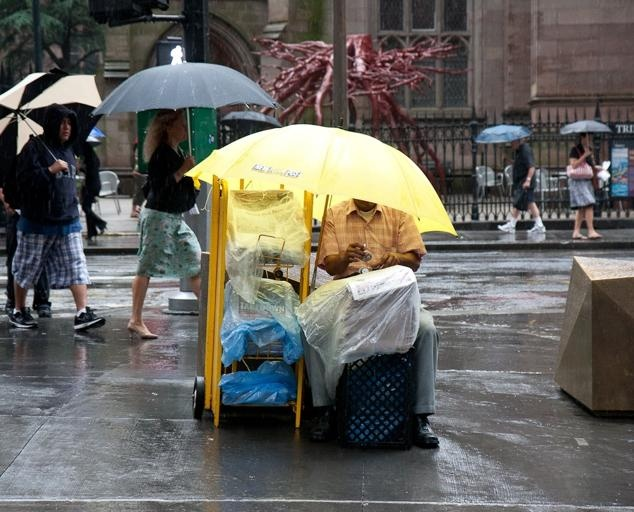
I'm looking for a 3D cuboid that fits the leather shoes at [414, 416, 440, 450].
[{"bbox_3d":[0.839,1.325,9.339,0.196,0.225,0.184,2,11,5],"label":"leather shoes"}]

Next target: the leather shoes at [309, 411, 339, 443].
[{"bbox_3d":[0.070,1.278,9.485,0.127,0.183,0.418,5,14,21],"label":"leather shoes"}]

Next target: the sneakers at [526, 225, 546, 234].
[{"bbox_3d":[3.998,-0.490,22.128,0.140,0.140,0.276,-7,8,-42],"label":"sneakers"}]

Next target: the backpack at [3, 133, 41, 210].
[{"bbox_3d":[-2.978,-0.847,12.120,0.580,0.723,0.304,11,15,42],"label":"backpack"}]

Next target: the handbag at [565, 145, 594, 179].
[{"bbox_3d":[4.463,-1.563,20.615,0.431,0.463,0.713,2,12,6],"label":"handbag"}]

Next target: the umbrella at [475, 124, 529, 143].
[{"bbox_3d":[3.512,-2.280,22.783,0.728,0.343,1.256,-6,14,-30],"label":"umbrella"}]

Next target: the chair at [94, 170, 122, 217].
[{"bbox_3d":[-5.014,-1.435,28.823,0.452,0.906,0.547,-10,-3,-2],"label":"chair"}]

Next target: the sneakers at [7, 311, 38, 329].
[{"bbox_3d":[-3.073,0.642,12.656,0.290,0.159,0.143,5,6,25],"label":"sneakers"}]

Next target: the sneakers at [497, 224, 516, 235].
[{"bbox_3d":[3.530,-0.529,22.529,0.343,0.197,0.141,9,7,-6],"label":"sneakers"}]

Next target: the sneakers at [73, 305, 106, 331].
[{"bbox_3d":[-2.367,0.633,12.511,0.422,0.292,0.160,-8,-9,35],"label":"sneakers"}]

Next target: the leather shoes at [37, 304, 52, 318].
[{"bbox_3d":[-3.001,0.584,13.355,0.081,0.115,0.240,0,-2,-23],"label":"leather shoes"}]

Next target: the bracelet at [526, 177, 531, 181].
[{"bbox_3d":[3.671,-1.369,21.107,0.075,0.090,0.065,1,11,2],"label":"bracelet"}]
